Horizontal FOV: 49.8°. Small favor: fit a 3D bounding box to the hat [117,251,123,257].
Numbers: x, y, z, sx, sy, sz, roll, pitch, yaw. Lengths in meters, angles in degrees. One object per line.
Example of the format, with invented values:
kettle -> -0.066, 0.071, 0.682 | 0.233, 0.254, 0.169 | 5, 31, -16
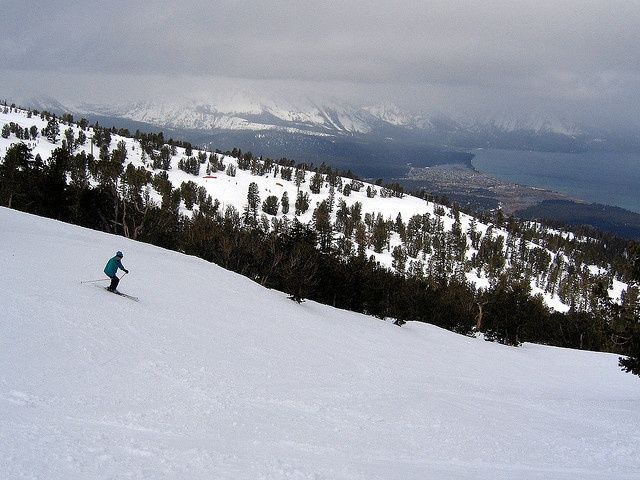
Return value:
hat -> -15.492, 1.029, 53.279 | 0.375, 0.497, 0.491 | 1, -2, -42
